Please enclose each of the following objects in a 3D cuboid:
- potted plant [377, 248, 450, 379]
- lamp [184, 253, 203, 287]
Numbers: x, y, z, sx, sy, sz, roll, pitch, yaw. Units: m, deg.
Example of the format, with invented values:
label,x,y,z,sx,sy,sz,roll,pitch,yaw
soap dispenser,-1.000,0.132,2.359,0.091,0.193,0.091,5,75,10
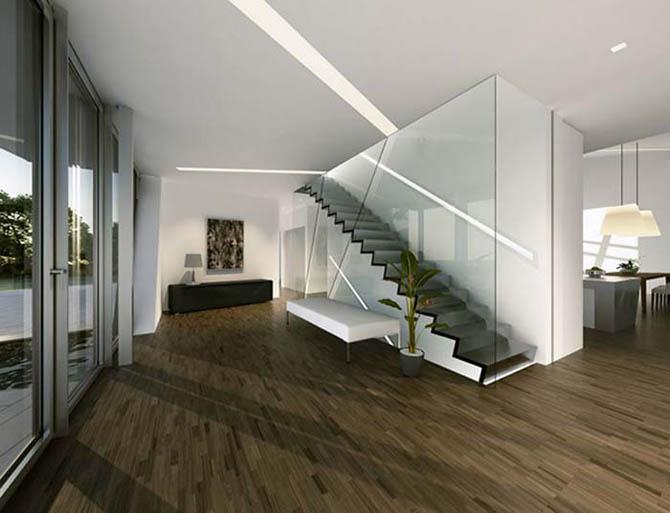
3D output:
label,x,y,z,sx,sy,sz,roll,pitch,yaw
potted plant,0.822,0.673,4.472,0.801,1.286,0.752,-1,-20,15
lamp,-2.608,0.221,7.545,0.280,0.559,0.533,-3,8,-21
